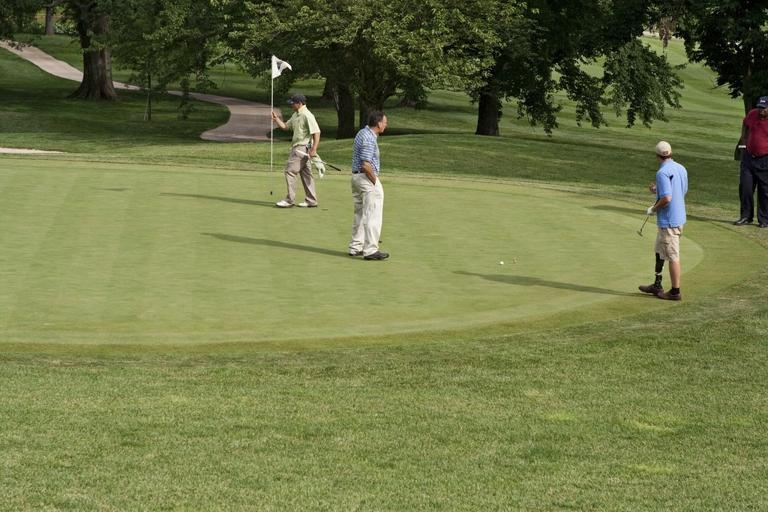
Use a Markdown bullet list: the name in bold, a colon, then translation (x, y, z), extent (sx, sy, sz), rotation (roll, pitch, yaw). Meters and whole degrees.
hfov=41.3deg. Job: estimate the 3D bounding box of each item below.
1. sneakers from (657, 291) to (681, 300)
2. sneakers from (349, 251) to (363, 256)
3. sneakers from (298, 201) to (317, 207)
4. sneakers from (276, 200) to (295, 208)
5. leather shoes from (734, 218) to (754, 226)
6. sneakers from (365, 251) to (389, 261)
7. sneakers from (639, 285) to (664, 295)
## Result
- **sneakers**: translation (4.254, 0.570, 15.169), extent (0.327, 0.110, 0.122), rotation (6, 11, 43)
- **sneakers**: translation (-0.465, -0.047, 17.205), extent (0.232, 0.075, 0.072), rotation (-11, 22, -9)
- **sneakers**: translation (-1.623, -1.122, 21.682), extent (0.391, 0.122, 0.134), rotation (2, 6, -13)
- **sneakers**: translation (-2.076, -1.109, 21.382), extent (0.398, 0.139, 0.145), rotation (1, 8, -7)
- **leather shoes**: translation (7.616, -0.733, 21.467), extent (0.438, 0.126, 0.133), rotation (2, 4, -3)
- **sneakers**: translation (-0.106, -0.019, 17.070), extent (0.452, 0.149, 0.138), rotation (-4, 21, -8)
- **sneakers**: translation (4.061, 0.497, 15.384), extent (0.386, 0.127, 0.136), rotation (7, 12, 36)
